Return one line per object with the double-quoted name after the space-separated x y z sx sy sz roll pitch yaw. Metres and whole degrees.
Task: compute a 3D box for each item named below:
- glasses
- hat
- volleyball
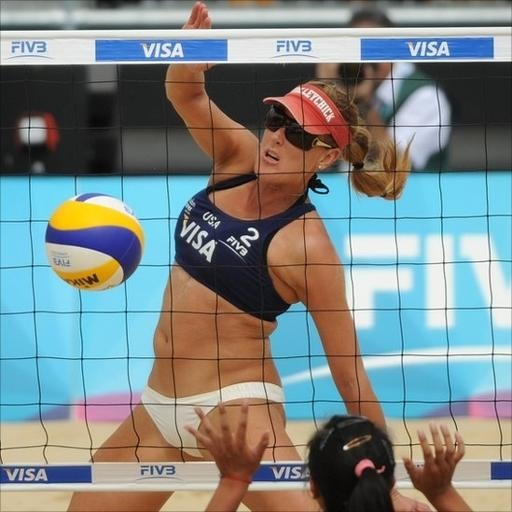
0.162 -0.475 3.057 0.193 0.204 0.181 -9 101 -49 "glasses"
0.197 -0.526 3.064 0.278 0.226 0.259 -13 107 -47 "hat"
-0.585 -0.048 2.913 0.264 0.284 0.403 -4 101 -31 "volleyball"
